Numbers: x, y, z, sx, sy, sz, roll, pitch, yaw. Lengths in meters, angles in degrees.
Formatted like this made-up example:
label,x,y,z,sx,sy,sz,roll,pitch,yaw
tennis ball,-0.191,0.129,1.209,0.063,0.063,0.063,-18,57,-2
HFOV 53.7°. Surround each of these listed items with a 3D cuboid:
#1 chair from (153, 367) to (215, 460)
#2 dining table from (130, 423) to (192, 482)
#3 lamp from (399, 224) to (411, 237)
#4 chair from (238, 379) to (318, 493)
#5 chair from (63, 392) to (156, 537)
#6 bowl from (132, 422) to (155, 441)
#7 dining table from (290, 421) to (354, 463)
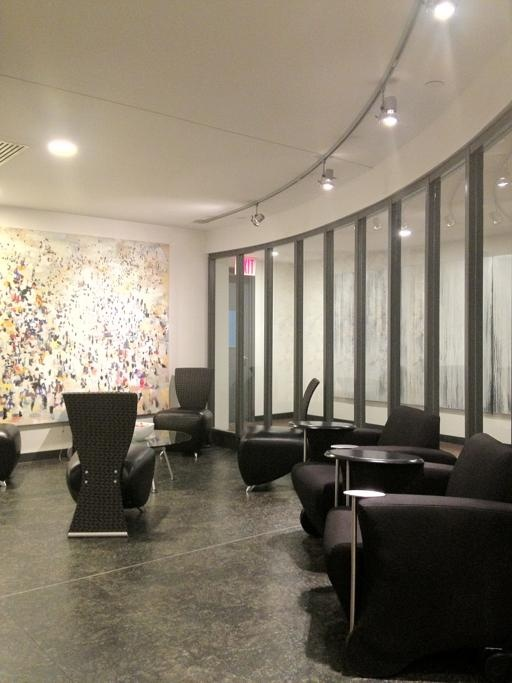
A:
label,x,y,z,sx,sy,sz,roll,pitch,yaw
chair,-0.914,0.892,6.574,0.634,1.141,0.763,0,-6,-2
dining table,-0.916,1.003,4.886,0.551,0.387,0.587,-1,3,-13
lamp,1.234,-0.908,4.159,0.027,0.092,0.068,-3,-4,-32
chair,0.204,0.855,4.715,0.677,1.043,0.655,1,1,8
chair,-1.065,0.844,3.623,0.466,0.894,0.818,0,-1,-8
bowl,-1.041,0.805,4.648,0.212,0.139,0.227,2,-6,0
dining table,0.508,0.666,3.674,0.375,0.272,0.399,-1,-1,11
